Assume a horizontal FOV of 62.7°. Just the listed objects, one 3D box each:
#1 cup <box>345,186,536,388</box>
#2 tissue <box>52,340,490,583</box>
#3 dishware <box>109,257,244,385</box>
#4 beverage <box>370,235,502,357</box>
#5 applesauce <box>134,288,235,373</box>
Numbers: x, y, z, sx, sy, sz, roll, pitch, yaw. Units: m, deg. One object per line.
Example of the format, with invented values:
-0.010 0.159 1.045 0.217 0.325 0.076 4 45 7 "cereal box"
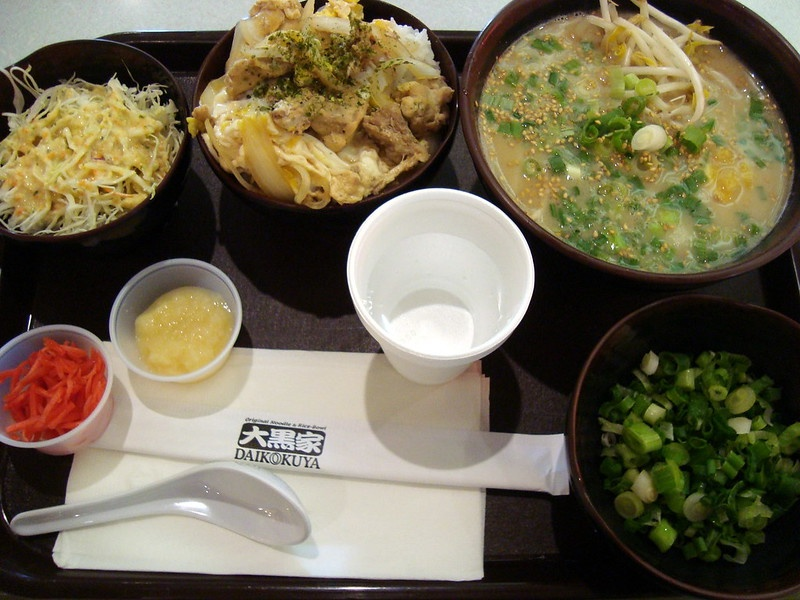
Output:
0.115 -0.042 2.312 0.634 0.506 0.648 2 76 -6 "cup"
-0.405 0.539 2.300 1.417 0.057 0.830 -3 63 6 "tissue"
-0.799 0.093 2.345 0.295 0.316 0.411 6 27 12 "dishware"
0.131 -0.015 2.149 0.375 0.171 0.420 1 76 -1 "beverage"
-0.757 0.112 2.336 0.284 0.091 0.301 12 72 1 "applesauce"
